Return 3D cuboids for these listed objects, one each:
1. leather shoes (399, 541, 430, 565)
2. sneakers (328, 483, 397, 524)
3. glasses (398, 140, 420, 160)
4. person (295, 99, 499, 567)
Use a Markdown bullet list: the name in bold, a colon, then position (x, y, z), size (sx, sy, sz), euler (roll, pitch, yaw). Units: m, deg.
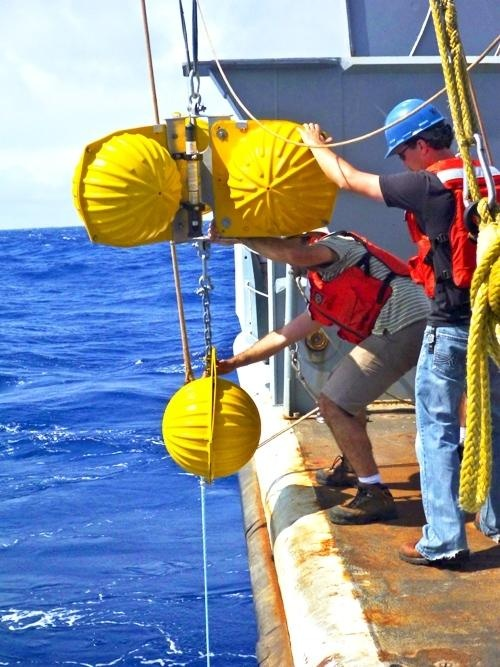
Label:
- **leather shoes**: position (0.803, 1.085, 4.715), size (0.187, 0.068, 0.066), euler (19, 28, 28)
- **sneakers**: position (0.628, 0.942, 5.175), size (0.435, 0.190, 0.179), euler (1, 1, -2)
- **glasses**: position (0.796, -0.923, 4.768), size (0.030, 0.072, 0.086), euler (21, -15, -29)
- **person**: position (0.958, 0.048, 4.572), size (0.862, 2.191, 0.998), euler (-14, 15, -39)
